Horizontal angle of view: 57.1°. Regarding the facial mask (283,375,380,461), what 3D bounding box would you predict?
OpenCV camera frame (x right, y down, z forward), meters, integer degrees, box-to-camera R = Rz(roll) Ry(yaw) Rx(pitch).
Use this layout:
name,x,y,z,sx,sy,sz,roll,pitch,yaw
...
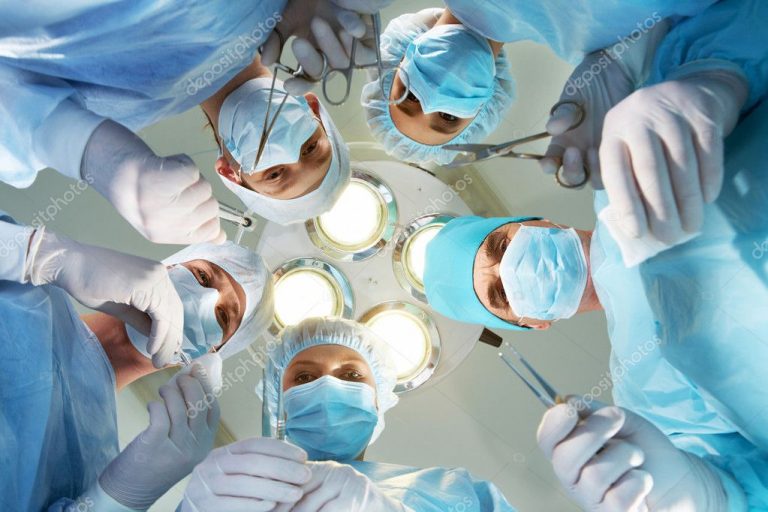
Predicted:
name,x,y,z,sx,sy,sz,roll,pitch,yaw
facial mask,-0.233,0.678,3.053,0.428,0.360,0.437,-3,-8,-6

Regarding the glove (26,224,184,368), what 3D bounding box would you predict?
name,x,y,z,sx,sy,sz,roll,pitch,yaw
glove,-0.984,0.082,2.566,0.456,0.186,0.496,12,-27,30

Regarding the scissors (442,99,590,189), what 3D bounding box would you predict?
name,x,y,z,sx,sy,sz,roll,pitch,yaw
scissors,0.491,-0.354,2.673,0.451,0.344,0.020,-4,-18,11

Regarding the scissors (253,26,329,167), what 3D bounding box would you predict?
name,x,y,z,sx,sy,sz,roll,pitch,yaw
scissors,-0.418,-0.584,2.688,0.229,0.055,0.634,21,-31,-6

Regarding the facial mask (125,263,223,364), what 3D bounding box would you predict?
name,x,y,z,sx,sy,sz,roll,pitch,yaw
facial mask,-0.832,0.252,3.093,0.382,0.386,0.225,-39,-13,19
